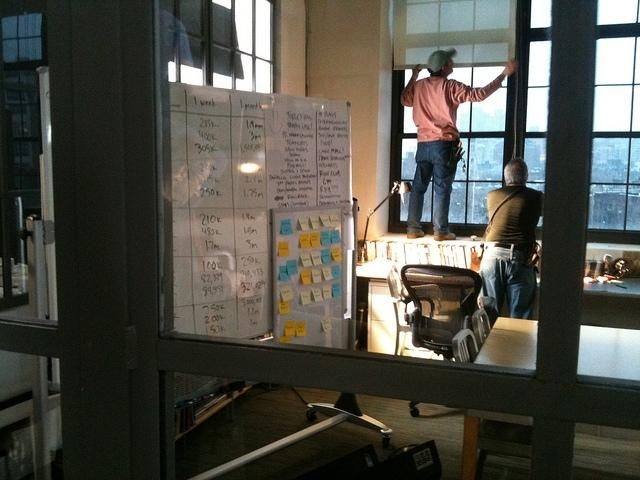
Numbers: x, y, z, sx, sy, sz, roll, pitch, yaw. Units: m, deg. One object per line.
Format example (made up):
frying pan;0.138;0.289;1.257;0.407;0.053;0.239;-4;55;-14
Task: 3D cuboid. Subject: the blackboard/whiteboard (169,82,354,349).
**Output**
blackboard/whiteboard;-0.227;-0.087;2.216;0.051;1.135;1.101;4;5;42

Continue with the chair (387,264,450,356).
chair;0.562;0.407;3.447;0.390;0.597;0.387;0;2;8

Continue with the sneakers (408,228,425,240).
sneakers;0.708;-0.035;4.387;0.135;0.060;0.051;-3;5;-6

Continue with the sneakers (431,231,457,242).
sneakers;0.878;-0.023;4.183;0.120;0.055;0.065;-1;4;11
